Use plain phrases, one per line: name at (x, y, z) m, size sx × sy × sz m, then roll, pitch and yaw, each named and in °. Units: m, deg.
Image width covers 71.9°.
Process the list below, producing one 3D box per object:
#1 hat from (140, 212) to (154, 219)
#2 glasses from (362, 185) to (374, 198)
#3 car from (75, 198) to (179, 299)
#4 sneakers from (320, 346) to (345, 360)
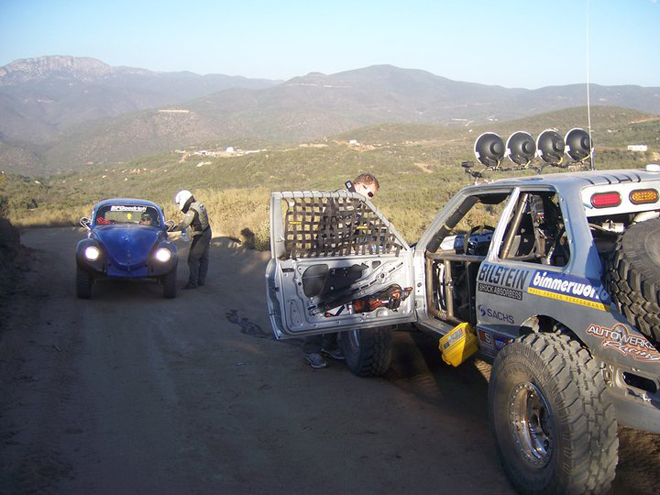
hat at (-4.198, -0.713, 10.367) m, size 0.142 × 0.111 × 0.148 m, roll 2°, pitch -2°, yaw -2°
glasses at (0.624, -0.875, 7.240) m, size 0.201 × 0.166 × 0.160 m, roll 30°, pitch -3°, yaw -16°
car at (-4.186, -0.136, 9.304) m, size 1.620 × 1.496 × 2.838 m, roll 2°, pitch -2°, yaw -15°
sneakers at (0.039, 1.440, 6.144) m, size 0.230 × 0.097 × 0.169 m, roll -1°, pitch 1°, yaw 4°
